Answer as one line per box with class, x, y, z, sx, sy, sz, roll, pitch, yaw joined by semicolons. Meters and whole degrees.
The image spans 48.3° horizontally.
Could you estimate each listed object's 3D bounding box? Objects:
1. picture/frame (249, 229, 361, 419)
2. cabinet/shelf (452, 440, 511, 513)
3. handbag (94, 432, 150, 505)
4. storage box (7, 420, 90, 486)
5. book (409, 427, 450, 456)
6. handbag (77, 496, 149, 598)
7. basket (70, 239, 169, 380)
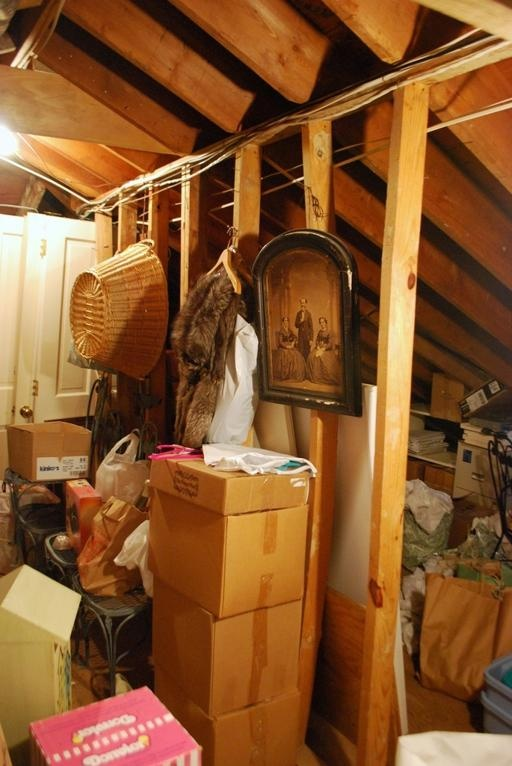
picture/frame;0.131;-0.152;1.551;0.068;0.630;0.473;-17;21;-37
cabinet/shelf;1.488;0.559;3.722;0.357;0.413;0.369;-8;21;-22
handbag;-0.527;0.353;2.341;0.180;0.283;0.164;2;-1;22
storage box;-0.983;0.340;2.743;0.307;0.248;0.319;7;6;38
book;1.243;0.436;4.094;0.366;0.183;0.150;4;1;-27
handbag;-0.510;0.552;1.988;0.199;0.311;0.258;13;-1;-30
basket;-0.568;-0.324;2.397;0.298;0.528;0.444;4;1;-34
